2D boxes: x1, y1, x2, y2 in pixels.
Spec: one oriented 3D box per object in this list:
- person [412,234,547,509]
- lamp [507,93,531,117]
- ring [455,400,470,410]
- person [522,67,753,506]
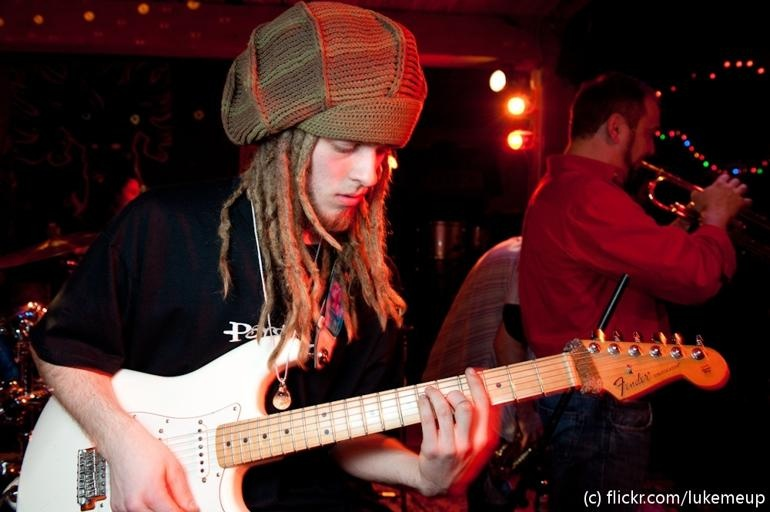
[{"bbox_3d":[0.478,0.622,3.763,0.622,1.384,0.585,0,16,-12],"label":"person"},{"bbox_3d":[0.720,-0.811,3.715,0.107,0.114,0.068,13,6,28],"label":"lamp"},{"bbox_3d":[0.300,0.574,2.637,0.037,0.029,0.037,-1,-14,0],"label":"ring"},{"bbox_3d":[1.155,0.150,3.467,0.875,2.096,0.890,-12,19,-42],"label":"person"}]
